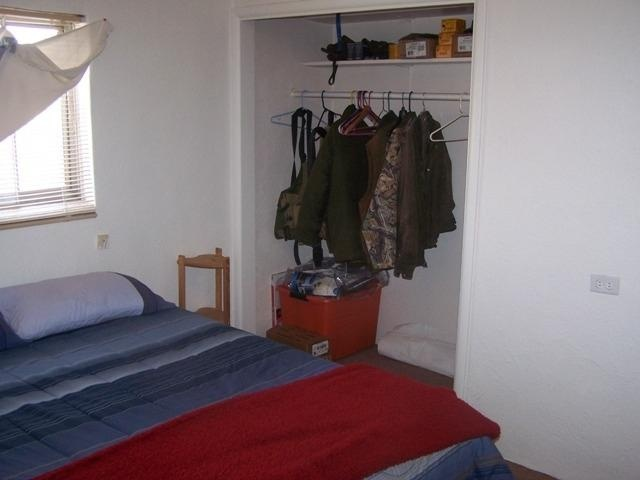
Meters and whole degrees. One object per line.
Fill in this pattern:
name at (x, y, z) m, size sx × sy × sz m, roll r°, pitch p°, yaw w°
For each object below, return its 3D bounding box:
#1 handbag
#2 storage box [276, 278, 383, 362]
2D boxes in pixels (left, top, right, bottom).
handbag at (-0.238, -0.227, 3.869) m, size 0.207 × 0.476 × 0.436 m, roll -4°, pitch 15°, yaw -26°
storage box at (0.077, 0.611, 4.021) m, size 0.614 × 0.542 × 0.715 m, roll 8°, pitch 10°, yaw 44°
